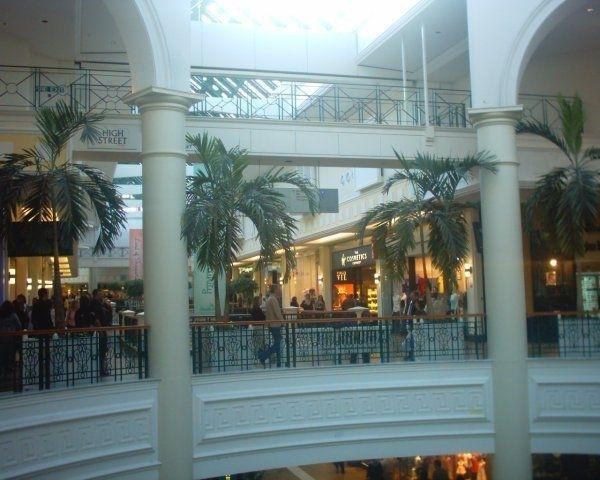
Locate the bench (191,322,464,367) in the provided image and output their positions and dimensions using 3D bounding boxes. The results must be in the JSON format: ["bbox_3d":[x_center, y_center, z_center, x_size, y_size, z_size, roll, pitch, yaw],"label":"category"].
[{"bbox_3d":[0.584,2.004,12.227,5.371,1.092,0.481,-3,-4,-11],"label":"bench"}]
